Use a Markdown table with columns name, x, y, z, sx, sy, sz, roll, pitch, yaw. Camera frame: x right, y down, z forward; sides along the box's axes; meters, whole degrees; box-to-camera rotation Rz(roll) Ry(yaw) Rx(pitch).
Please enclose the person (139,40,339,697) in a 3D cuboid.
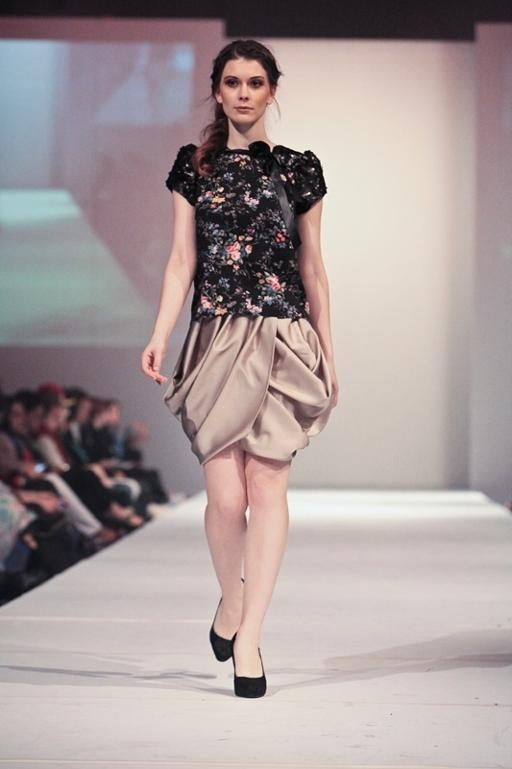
| name | x | y | z | sx | sy | sz | roll | pitch | yaw |
| --- | --- | --- | --- | --- | --- | --- | --- | --- | --- |
| person | -0.024 | -0.018 | 1.763 | 0.408 | 1.478 | 0.667 | 1 | 18 | 5 |
